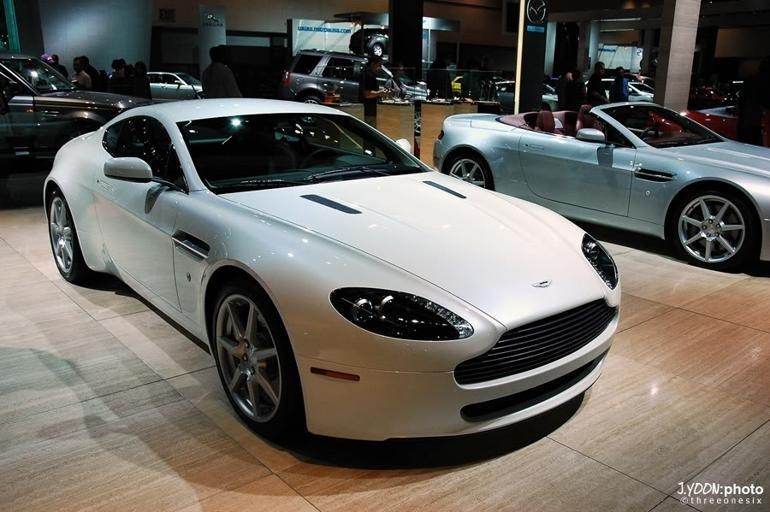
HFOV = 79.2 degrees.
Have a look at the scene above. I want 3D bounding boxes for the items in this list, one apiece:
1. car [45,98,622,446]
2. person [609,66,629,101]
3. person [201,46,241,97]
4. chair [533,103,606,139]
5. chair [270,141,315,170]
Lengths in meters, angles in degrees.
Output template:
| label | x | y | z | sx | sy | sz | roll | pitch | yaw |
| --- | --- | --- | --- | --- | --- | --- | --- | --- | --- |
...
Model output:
| label | x | y | z | sx | sy | sz | roll | pitch | yaw |
| --- | --- | --- | --- | --- | --- | --- | --- | --- | --- |
| car | -0.864 | -0.036 | 3.480 | 4.068 | 1.237 | 2.140 | 19 | 25 | 42 |
| person | 6.168 | -4.557 | 12.179 | 0.426 | 0.889 | 1.552 | 8 | 21 | 24 |
| person | -2.847 | -3.193 | 7.978 | 0.682 | 0.816 | 0.456 | 2 | 20 | 7 |
| chair | 2.574 | -1.912 | 6.542 | 0.915 | 0.421 | 0.562 | 12 | 24 | 33 |
| chair | -0.733 | -0.795 | 3.635 | 0.231 | 0.138 | 0.310 | -14 | 25 | -40 |
